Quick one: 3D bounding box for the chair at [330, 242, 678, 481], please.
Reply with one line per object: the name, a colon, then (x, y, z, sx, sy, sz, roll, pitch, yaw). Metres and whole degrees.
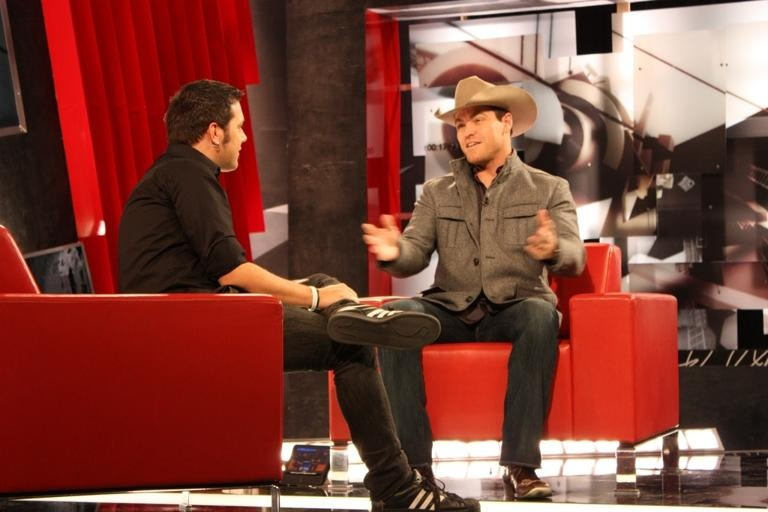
chair: (0.730, 0.535, 3.189, 1.466, 0.889, 0.730, -4, -9, 24)

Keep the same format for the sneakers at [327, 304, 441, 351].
sneakers: (0.007, 0.226, 2.527, 0.435, 0.143, 0.198, 3, 21, 3)

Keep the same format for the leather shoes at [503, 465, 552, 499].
leather shoes: (0.568, 0.916, 2.907, 0.090, 0.120, 0.234, 5, -12, -26)
